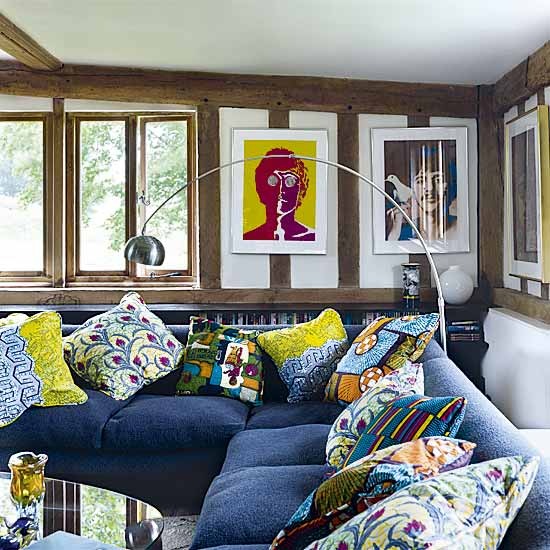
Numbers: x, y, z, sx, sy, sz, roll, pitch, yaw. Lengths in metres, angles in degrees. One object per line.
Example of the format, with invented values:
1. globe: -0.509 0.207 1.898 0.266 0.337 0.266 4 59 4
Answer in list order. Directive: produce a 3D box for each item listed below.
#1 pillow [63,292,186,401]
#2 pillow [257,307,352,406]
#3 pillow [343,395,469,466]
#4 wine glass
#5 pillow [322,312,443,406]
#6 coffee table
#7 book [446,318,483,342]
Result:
1. pillow: -0.793 0.382 3.204 0.570 0.152 0.518 31 45 25
2. pillow: 0.169 0.429 3.075 0.486 0.419 0.138 -21 -28 15
3. pillow: 0.353 0.479 1.860 0.180 0.268 0.339 25 -17 -36
4. wine glass: -0.750 0.647 1.830 0.101 0.227 0.062 -1 3 -22
5. pillow: 0.524 0.392 2.873 0.173 0.576 0.617 40 -35 -21
6. coffee table: -0.623 0.768 1.959 0.478 0.094 0.311 8 2 15
7. book: 1.272 0.373 4.081 0.218 0.135 0.112 1 3 10
